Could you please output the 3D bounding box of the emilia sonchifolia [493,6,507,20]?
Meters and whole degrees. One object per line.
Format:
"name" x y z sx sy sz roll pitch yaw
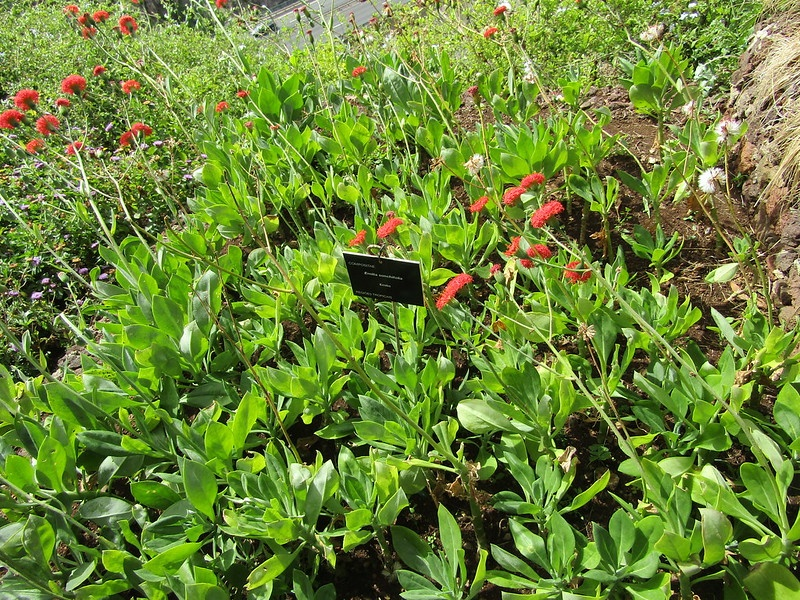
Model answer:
"emilia sonchifolia" 0.406 -1.172 2.410 0.055 0.028 0.065 -6 38 19

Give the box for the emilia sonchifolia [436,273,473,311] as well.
"emilia sonchifolia" 0.150 -0.018 1.889 0.119 0.044 0.137 -52 5 -36

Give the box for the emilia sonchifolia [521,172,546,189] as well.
"emilia sonchifolia" 0.452 -0.412 2.009 0.084 0.048 0.078 -12 14 15

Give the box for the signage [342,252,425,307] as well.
"signage" -0.047 -0.071 1.903 0.222 0.167 0.025 9 45 20
